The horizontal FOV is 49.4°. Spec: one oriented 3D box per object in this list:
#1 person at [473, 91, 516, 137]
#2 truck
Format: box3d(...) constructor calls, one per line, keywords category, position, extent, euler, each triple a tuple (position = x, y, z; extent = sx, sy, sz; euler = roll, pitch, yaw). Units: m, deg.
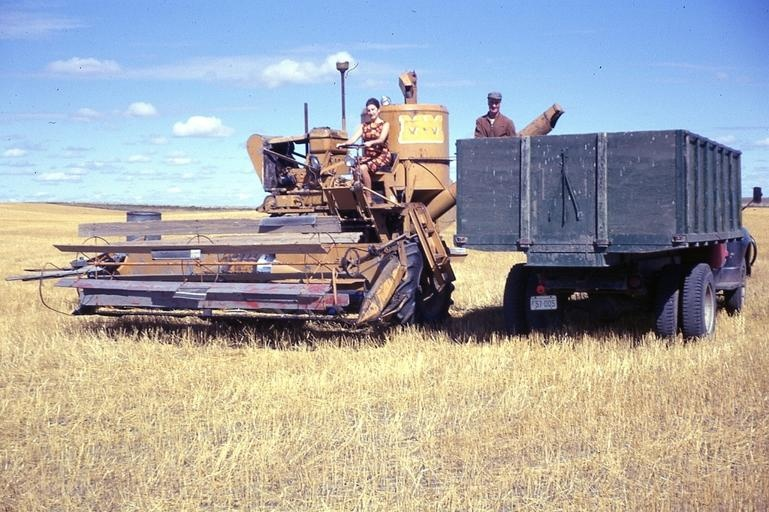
box3d(category="person", position=(1.936, -2.369, 14.813), extent=(0.731, 0.966, 0.517), euler=(0, -8, 1))
box3d(category="truck", position=(3.918, -0.378, 13.202), extent=(2.882, 2.232, 4.462), euler=(2, 7, 32))
